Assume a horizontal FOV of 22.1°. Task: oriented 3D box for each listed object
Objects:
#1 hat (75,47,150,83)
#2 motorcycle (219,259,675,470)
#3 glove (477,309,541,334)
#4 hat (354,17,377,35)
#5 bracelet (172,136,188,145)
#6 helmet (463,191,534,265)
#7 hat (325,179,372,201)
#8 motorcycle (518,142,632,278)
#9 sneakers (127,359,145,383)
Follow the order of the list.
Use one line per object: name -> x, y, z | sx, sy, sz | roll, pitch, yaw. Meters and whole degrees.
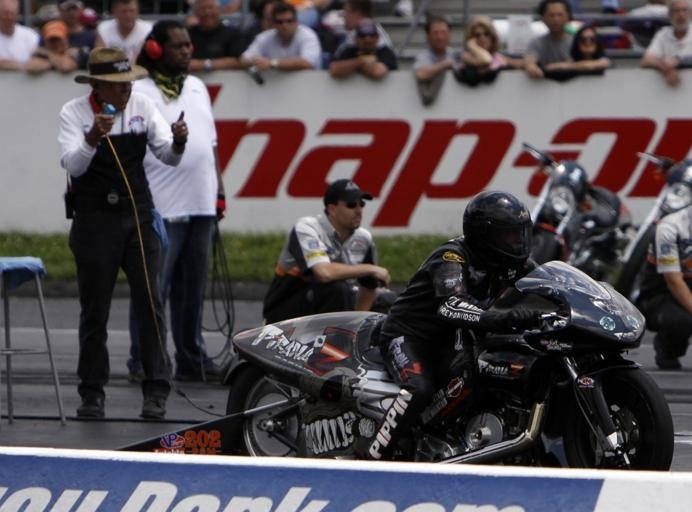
hat -> -1.898, -1.496, 14.163 | 0.411, 0.167, 0.350 | -5, 6, 22
motorcycle -> 0.762, 0.884, 13.669 | 3.579, 1.661, 1.368 | -4, -1, 21
glove -> 1.190, 0.474, 12.778 | 0.344, 0.131, 0.195 | -1, -5, 6
hat -> 0.226, -2.256, 17.561 | 0.153, 0.199, 0.156 | 0, 52, -8
bracelet -> -1.323, -0.926, 14.261 | 0.105, 0.096, 0.125 | 6, 21, -11
helmet -> 1.124, -0.186, 13.000 | 0.538, 0.516, 0.474 | 6, 13, 24
hat -> 0.020, -0.524, 14.710 | 0.313, 0.155, 0.197 | -3, 1, 22
motorcycle -> 2.363, -0.382, 17.707 | 0.885, 0.943, 1.562 | 43, 15, 17
sneakers -> -1.798, 1.006, 15.406 | 0.105, 0.212, 0.305 | -2, -23, -7
